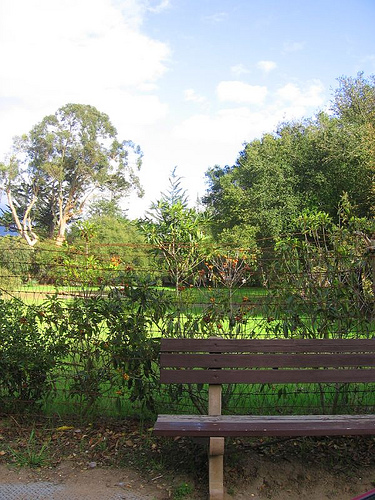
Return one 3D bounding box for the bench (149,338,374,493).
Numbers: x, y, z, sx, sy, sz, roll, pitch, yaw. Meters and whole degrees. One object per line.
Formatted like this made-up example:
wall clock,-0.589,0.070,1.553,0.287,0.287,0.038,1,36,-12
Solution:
bench,0.572,0.899,3.054,1.318,0.796,1.559,-1,2,10
